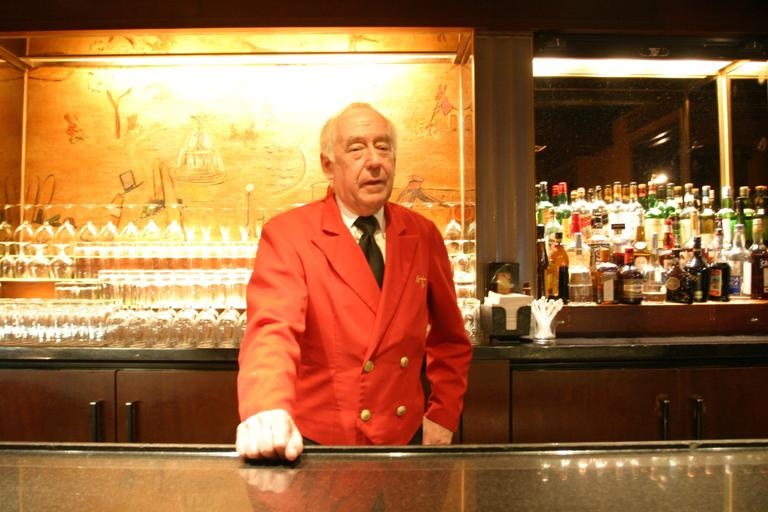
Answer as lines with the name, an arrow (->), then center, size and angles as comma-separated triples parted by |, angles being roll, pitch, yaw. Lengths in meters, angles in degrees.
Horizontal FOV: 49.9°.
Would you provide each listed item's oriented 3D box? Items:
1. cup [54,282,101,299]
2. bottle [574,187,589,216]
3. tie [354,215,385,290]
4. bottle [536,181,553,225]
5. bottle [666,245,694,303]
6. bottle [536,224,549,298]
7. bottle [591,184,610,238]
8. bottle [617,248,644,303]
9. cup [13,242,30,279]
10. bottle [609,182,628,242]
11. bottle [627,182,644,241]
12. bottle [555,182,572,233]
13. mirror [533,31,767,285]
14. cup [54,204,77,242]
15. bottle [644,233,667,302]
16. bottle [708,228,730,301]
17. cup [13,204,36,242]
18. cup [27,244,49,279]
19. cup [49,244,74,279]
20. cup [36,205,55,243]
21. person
cup -> -1.977, 0.218, 5.342 | 0.276, 0.101, 0.069 | 0, -4, -17
bottle -> 1.347, -0.378, 5.610 | 0.120, 0.192, 0.070 | 1, -4, -31
tie -> -0.068, -0.030, 4.245 | 0.137, 0.380, 0.120 | -7, -19, -15
bottle -> 1.080, -0.363, 5.530 | 0.114, 0.297, 0.163 | -2, -4, 10
bottle -> 1.891, 0.124, 5.332 | 0.168, 0.344, 0.128 | -2, -4, 2
bottle -> 1.028, 0.030, 5.362 | 0.076, 0.463, 0.232 | -3, -4, 14
bottle -> 1.439, -0.300, 5.505 | 0.114, 0.382, 0.301 | -3, -4, 15
bottle -> 1.559, 0.127, 5.228 | 0.146, 0.354, 0.117 | -3, -4, 14
cup -> -2.426, 0.023, 5.502 | 0.086, 0.236, 0.122 | 0, -4, -26
bottle -> 1.540, -0.306, 5.449 | 0.111, 0.429, 0.424 | -3, -4, 16
bottle -> 1.662, -0.301, 5.476 | 0.116, 0.391, 0.312 | -3, -4, 17
bottle -> 1.206, -0.322, 5.545 | 0.108, 0.371, 0.105 | -2, -4, 0
mirror -> 1.720, -0.637, 5.521 | 1.999, 1.397, 0.621 | 0, 0, -5
cup -> -2.172, -0.223, 5.622 | 0.142, 0.267, 0.206 | 0, -4, -19
bottle -> 1.755, 0.067, 5.344 | 0.120, 0.417, 0.311 | -3, -4, 23
bottle -> 2.183, 0.057, 5.361 | 0.125, 0.468, 0.172 | -4, -4, 34
cup -> -2.458, -0.229, 5.622 | 0.141, 0.260, 0.114 | -1, -4, -8
cup -> -2.282, 0.031, 5.478 | 0.129, 0.219, 0.075 | -1, -4, -10
cup -> -2.121, 0.034, 5.474 | 0.168, 0.224, 0.084 | -1, -4, -1
cup -> -2.303, -0.220, 5.617 | 0.131, 0.259, 0.178 | 0, -4, -20
person -> -0.234, 0.079, 4.093 | 1.297, 1.753, 0.531 | 2, -5, -43
